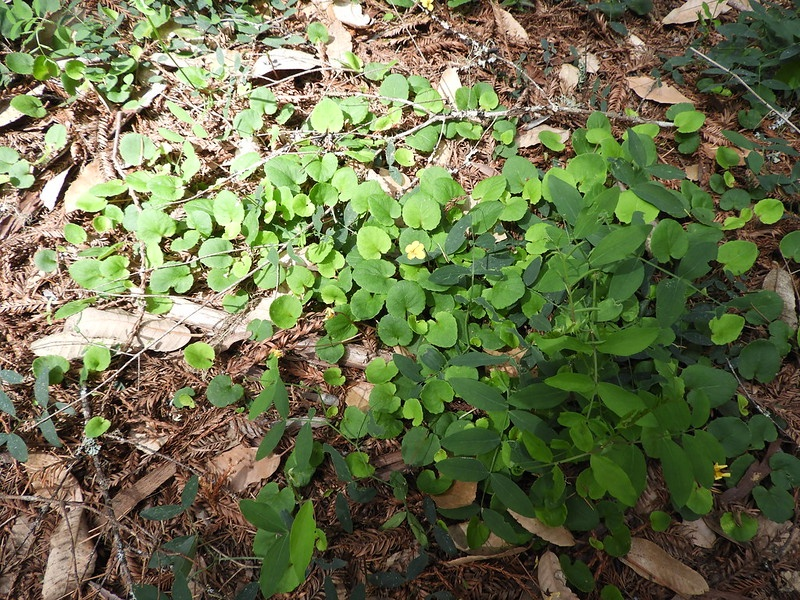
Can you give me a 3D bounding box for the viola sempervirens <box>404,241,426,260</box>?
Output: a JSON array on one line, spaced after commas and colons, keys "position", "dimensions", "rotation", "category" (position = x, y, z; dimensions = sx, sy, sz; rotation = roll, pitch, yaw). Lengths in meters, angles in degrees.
[{"position": [0.072, -0.262, 3.039], "dimensions": [0.104, 0.098, 0.053], "rotation": [-5, -42, -1], "category": "viola sempervirens"}]
